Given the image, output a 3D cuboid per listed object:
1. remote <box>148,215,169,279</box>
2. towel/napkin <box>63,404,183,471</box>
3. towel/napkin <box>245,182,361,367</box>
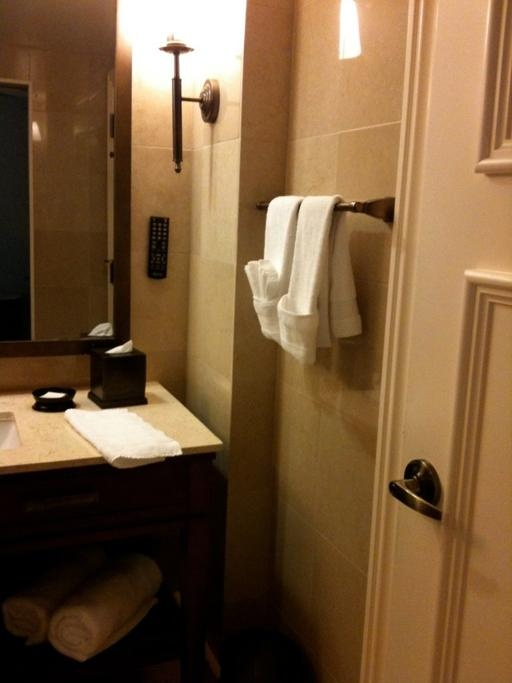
[{"bbox_3d":[-0.302,-0.291,1.759,0.060,0.219,0.023,-4,43,-19],"label":"remote"},{"bbox_3d":[-0.324,0.205,1.350,0.184,0.060,0.376,-11,22,-36],"label":"towel/napkin"},{"bbox_3d":[0.101,-0.135,1.230,0.171,0.369,0.314,-5,16,-23],"label":"towel/napkin"}]
